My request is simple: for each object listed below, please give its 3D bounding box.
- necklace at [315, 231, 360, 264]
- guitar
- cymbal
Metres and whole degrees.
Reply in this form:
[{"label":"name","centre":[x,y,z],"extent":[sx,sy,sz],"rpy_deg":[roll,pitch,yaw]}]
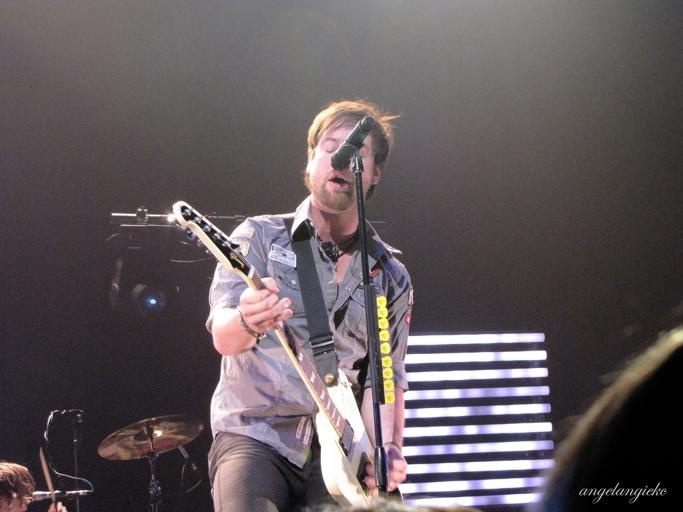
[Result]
[{"label":"necklace","centre":[-0.018,-0.056,5.003],"extent":[0.175,0.072,0.246],"rpy_deg":[21,28,31]},{"label":"guitar","centre":[-0.273,0.570,4.367],"extent":[1.158,1.755,0.586],"rpy_deg":[0,7,2]},{"label":"cymbal","centre":[-1.512,1.439,5.837],"extent":[0.668,0.418,0.515],"rpy_deg":[1,2,-13]}]
